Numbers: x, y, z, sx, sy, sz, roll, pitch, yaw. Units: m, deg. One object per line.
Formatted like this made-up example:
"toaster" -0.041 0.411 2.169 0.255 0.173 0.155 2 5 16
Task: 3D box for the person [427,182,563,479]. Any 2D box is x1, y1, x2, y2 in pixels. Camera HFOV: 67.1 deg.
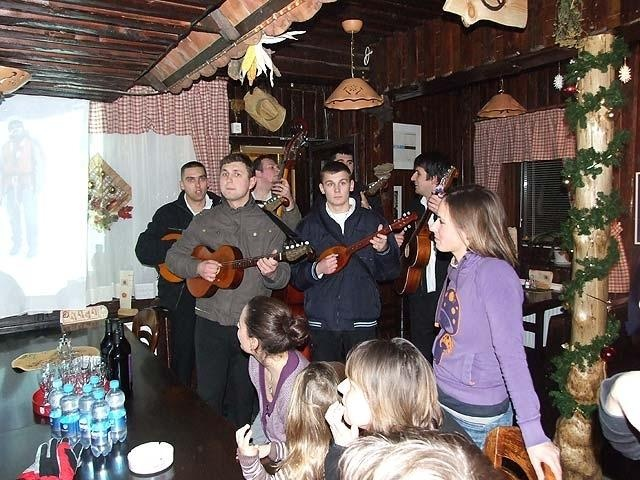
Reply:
"person" 0.751 0.367 2.123 0.377 1.154 0.853 -6 12 -18

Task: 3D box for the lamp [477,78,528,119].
"lamp" 1.848 -1.529 4.910 0.419 0.463 0.407 -6 8 -34

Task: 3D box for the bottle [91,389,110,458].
"bottle" -0.941 0.771 2.042 0.083 0.238 0.162 -8 13 -28

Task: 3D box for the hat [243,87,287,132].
"hat" -0.648 -1.497 5.500 0.463 0.488 0.180 2 12 22

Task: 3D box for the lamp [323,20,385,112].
"lamp" 0.293 -1.554 4.248 0.537 0.680 0.565 -8 15 -21

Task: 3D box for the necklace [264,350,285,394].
"necklace" -0.251 0.711 2.587 0.130 0.257 0.060 3 21 -22
